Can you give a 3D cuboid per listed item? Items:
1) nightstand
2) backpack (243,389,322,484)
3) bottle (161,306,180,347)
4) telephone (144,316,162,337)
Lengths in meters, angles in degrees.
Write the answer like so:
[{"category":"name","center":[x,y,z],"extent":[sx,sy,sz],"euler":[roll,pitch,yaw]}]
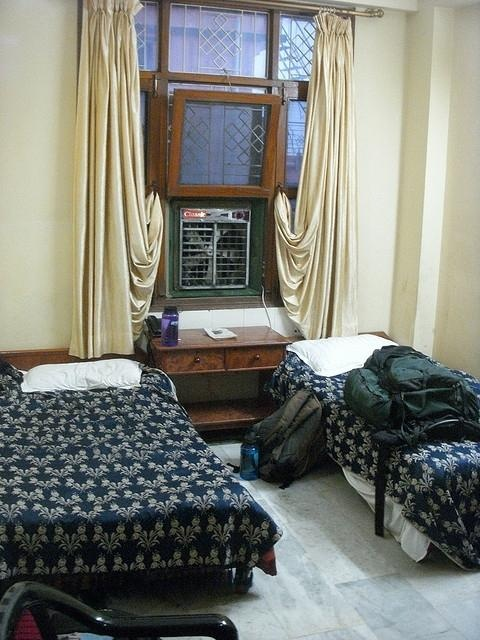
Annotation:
[{"category":"nightstand","center":[-0.142,0.387,3.511],"extent":[0.786,0.560,0.409],"euler":[-2,12,-16]},{"category":"backpack","center":[0.269,0.667,2.996],"extent":[0.186,0.509,0.384],"euler":[37,13,-41]},{"category":"bottle","center":[-0.419,0.036,3.269],"extent":[0.095,0.228,0.166],"euler":[0,7,-10]},{"category":"telephone","center":[-0.547,0.043,3.471],"extent":[0.097,0.116,0.293],"euler":[0,7,-14]}]
